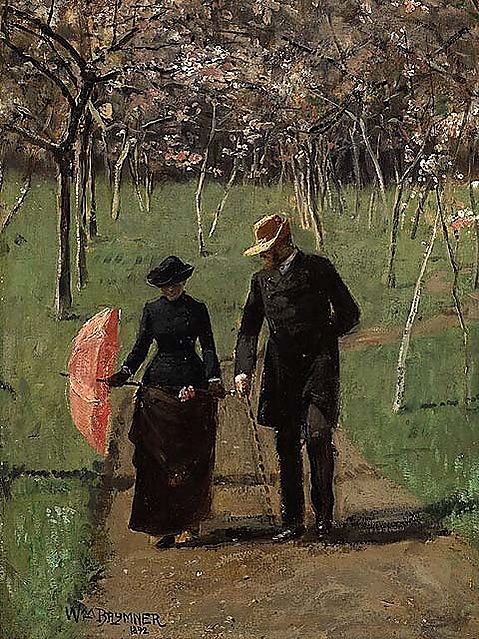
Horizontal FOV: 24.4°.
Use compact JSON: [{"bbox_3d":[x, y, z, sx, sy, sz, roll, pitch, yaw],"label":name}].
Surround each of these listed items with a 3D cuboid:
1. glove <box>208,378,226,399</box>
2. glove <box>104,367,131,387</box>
[{"bbox_3d":[-0.144,0.461,7.200,0.106,0.084,0.108,14,-24,-26],"label":"glove"},{"bbox_3d":[-0.790,0.393,7.201,0.163,0.092,0.051,-40,-13,13],"label":"glove"}]
